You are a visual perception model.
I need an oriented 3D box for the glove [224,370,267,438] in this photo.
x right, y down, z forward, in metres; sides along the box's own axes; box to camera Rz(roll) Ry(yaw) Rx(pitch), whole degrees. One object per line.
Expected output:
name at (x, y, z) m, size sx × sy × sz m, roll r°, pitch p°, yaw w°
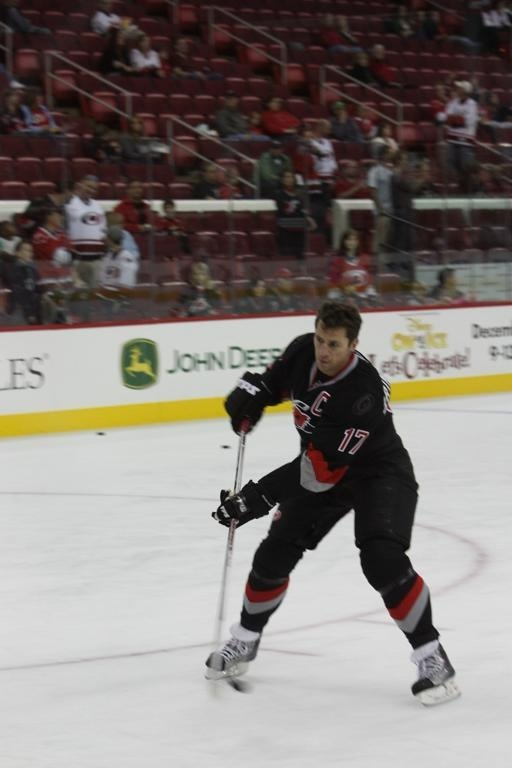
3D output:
glove at (-0.026, 0.065, 2.775) m, size 0.079 × 0.143 × 0.195 m, roll 12°, pitch -41°, yaw -22°

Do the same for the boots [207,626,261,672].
boots at (-0.071, 0.823, 2.605) m, size 0.059 × 0.111 × 0.179 m, roll 15°, pitch 2°, yaw 34°

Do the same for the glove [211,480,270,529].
glove at (-0.051, 0.376, 2.614) m, size 0.188 × 0.121 × 0.083 m, roll -22°, pitch -36°, yaw 16°

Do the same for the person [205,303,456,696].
person at (0.226, 0.343, 2.563) m, size 0.840 × 1.181 × 0.427 m, roll 5°, pitch 9°, yaw 23°
